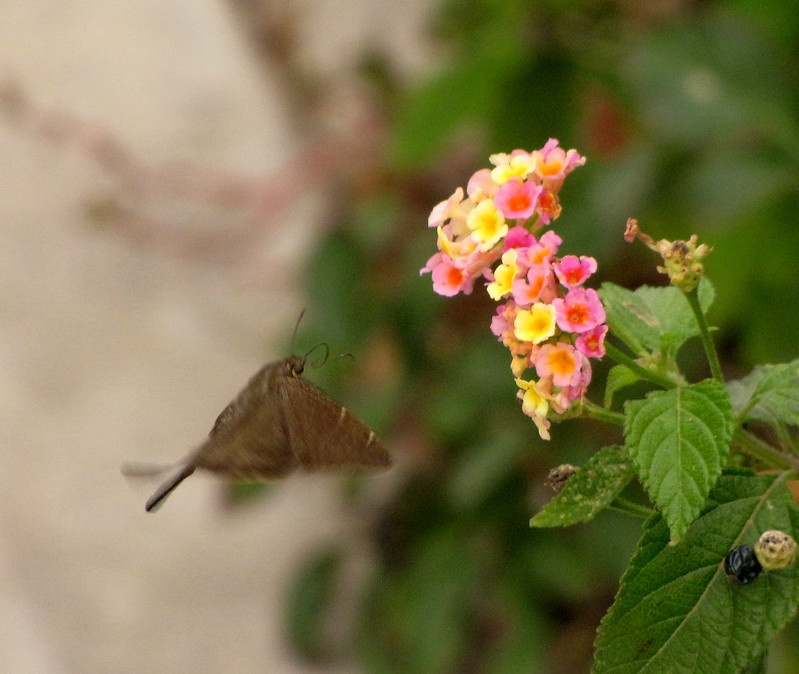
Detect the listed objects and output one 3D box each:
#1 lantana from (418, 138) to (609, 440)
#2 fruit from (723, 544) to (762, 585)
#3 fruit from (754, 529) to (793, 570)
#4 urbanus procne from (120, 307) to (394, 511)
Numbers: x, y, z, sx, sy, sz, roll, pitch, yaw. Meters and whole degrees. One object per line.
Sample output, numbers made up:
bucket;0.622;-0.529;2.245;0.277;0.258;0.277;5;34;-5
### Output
lantana;0.224;-0.107;1.835;0.319;0.399;0.283;-35;-49;25
fruit;0.563;0.371;1.799;0.044;0.062;0.054;-11;-61;20
fruit;0.613;0.346;1.792;0.064;0.047;0.044;-26;-46;15
urbanus procne;-0.259;0.197;2.169;0.319;0.382;0.154;-16;-71;-18
